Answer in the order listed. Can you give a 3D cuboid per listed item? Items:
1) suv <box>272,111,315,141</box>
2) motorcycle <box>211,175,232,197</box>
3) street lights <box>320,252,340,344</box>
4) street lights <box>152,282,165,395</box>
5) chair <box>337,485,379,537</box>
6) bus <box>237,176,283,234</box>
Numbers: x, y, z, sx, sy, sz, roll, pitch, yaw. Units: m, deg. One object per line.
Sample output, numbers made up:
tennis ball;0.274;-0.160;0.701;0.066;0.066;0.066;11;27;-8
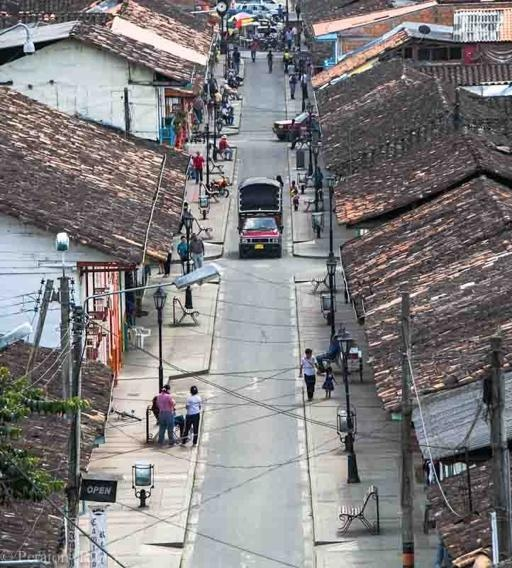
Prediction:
suv;1.908;-8.111;86.391;1.703;0.940;1.111;0;10;-5
motorcycle;-1.562;-4.351;75.199;0.582;0.744;1.119;-5;7;-15
street lights;2.368;0.668;53.585;0.577;3.211;0.652;0;3;28
street lights;-2.629;1.759;47.877;0.474;3.477;0.438;0;11;2
chair;2.417;5.173;40.318;0.967;0.959;1.710;1;15;3
bus;0.186;-3.377;67.103;1.463;1.694;4.207;0;4;3
